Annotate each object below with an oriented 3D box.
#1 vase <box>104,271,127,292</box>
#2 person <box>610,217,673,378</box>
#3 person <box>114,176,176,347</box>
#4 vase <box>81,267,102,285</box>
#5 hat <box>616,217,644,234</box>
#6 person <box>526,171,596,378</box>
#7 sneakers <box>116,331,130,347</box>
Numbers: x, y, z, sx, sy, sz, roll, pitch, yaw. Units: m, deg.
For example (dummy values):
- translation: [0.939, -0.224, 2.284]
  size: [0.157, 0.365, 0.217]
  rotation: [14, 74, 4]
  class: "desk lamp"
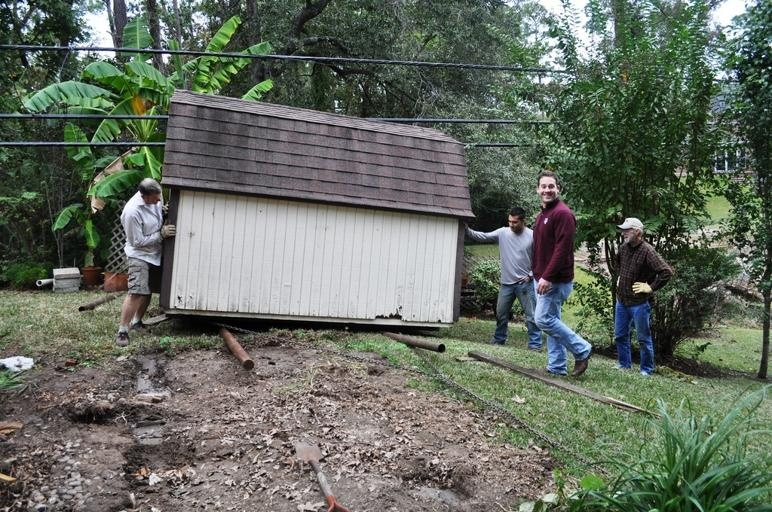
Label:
- translation: [-6.787, 0.649, 14.180]
  size: [0.586, 0.441, 0.499]
  rotation: [0, -2, 26]
  class: "vase"
- translation: [4.458, 0.703, 9.855]
  size: [0.966, 2.728, 0.631]
  rotation: [6, 5, 44]
  class: "person"
- translation: [-4.270, 0.029, 9.719]
  size: [0.656, 2.705, 1.114]
  rotation: [3, 4, 9]
  class: "person"
- translation: [-7.650, 0.524, 14.522]
  size: [0.464, 0.360, 0.460]
  rotation: [1, 1, -28]
  class: "vase"
- translation: [4.266, -0.525, 9.782]
  size: [0.410, 0.233, 0.274]
  rotation: [1, 0, 7]
  class: "hat"
- translation: [2.771, 0.295, 8.932]
  size: [0.836, 3.280, 0.702]
  rotation: [3, 4, 6]
  class: "person"
- translation: [-4.352, 1.358, 9.230]
  size: [0.192, 0.222, 0.264]
  rotation: [1, 4, -26]
  class: "sneakers"
